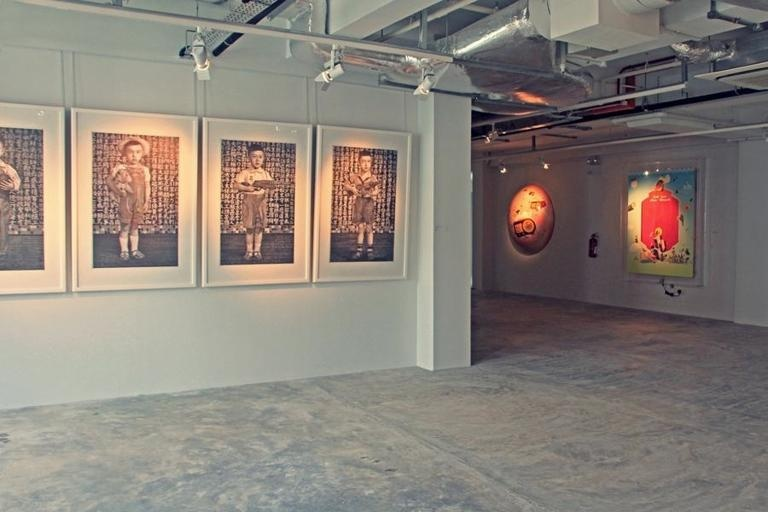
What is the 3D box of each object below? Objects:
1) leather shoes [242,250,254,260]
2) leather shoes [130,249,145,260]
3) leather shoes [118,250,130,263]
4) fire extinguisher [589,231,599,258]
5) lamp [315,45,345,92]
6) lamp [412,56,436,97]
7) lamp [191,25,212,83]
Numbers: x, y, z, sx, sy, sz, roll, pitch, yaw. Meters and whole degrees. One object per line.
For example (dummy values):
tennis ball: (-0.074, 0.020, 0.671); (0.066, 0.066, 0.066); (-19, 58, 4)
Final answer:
leather shoes: (-1.794, -0.004, 7.347); (0.122, 0.126, 0.127); (2, 1, 34)
leather shoes: (-3.062, -0.019, 6.847); (0.228, 0.090, 0.125); (1, 4, 35)
leather shoes: (-3.201, 0.003, 6.794); (0.139, 0.100, 0.250); (0, -4, -31)
fire extinguisher: (5.280, -0.272, 13.897); (0.095, 0.625, 0.265); (-5, 9, -38)
lamp: (-0.633, -2.121, 6.334); (0.225, 0.473, 0.647); (-1, 7, -14)
lamp: (0.491, -2.107, 6.573); (0.221, 0.356, 0.633); (1, 7, 3)
lamp: (-1.954, -2.184, 5.918); (0.160, 0.614, 0.601); (-2, 7, -17)
